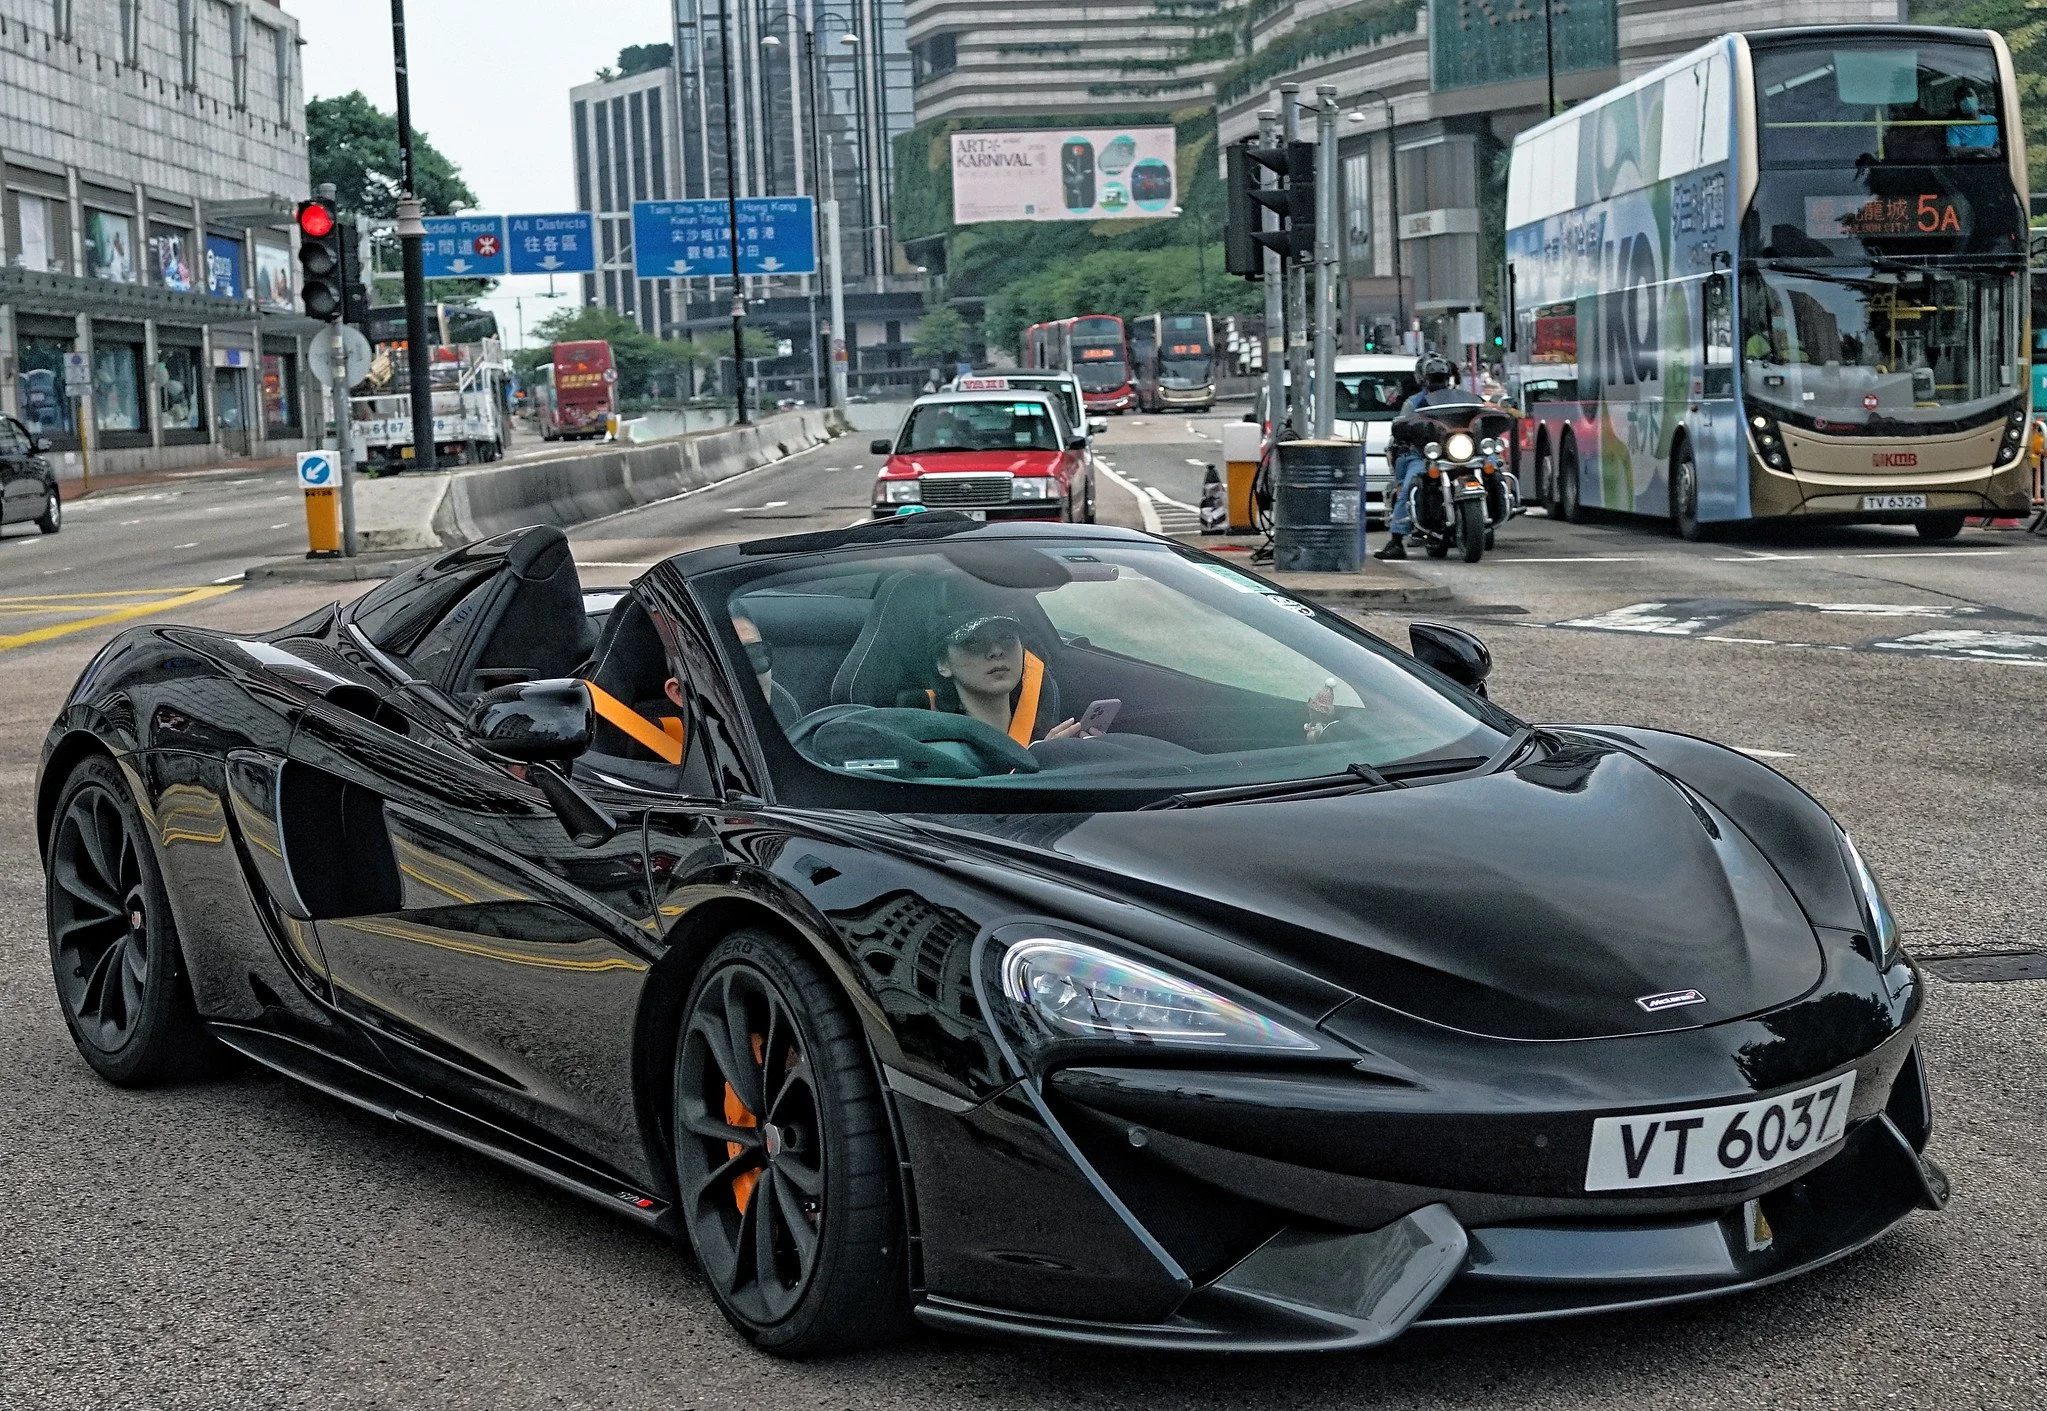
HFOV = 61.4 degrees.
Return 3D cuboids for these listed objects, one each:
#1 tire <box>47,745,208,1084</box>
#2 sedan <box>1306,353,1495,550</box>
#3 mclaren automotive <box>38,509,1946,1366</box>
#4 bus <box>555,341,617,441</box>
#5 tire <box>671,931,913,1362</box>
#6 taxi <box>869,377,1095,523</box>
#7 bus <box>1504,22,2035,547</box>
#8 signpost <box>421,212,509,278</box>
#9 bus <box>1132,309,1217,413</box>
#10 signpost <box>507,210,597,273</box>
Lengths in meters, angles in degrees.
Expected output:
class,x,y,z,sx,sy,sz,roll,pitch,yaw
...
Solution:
class,x,y,z,sx,sy,sz,roll,pitch,yaw
tire,-2.794,0.656,5.494,0.947,1.039,0.311,23,17,40
sedan,5.367,-4.153,25.058,1.719,1.769,3.137,-1,4,-1
mclaren automotive,-0.442,0.413,4.244,2.070,1.318,3.985,-3,7,-41
bus,-23.108,-16.623,90.735,5.285,5.030,1.869,6,11,43
tire,-0.481,0.907,3.663,0.276,0.881,0.788,0,-2,-39
taxi,-0.557,-3.313,22.890,2.503,1.739,3.370,0,9,11
bus,10.641,-5.922,25.784,4.240,6.568,9.866,-2,8,-1
signpost,-23.835,-19.733,73.949,3.561,2.433,2.135,-9,11,-39
bus,7.721,-17.507,88.062,4.240,4.975,2.105,2,9,27
signpost,-20.624,-20.269,75.394,3.514,2.554,2.352,-5,9,-22
